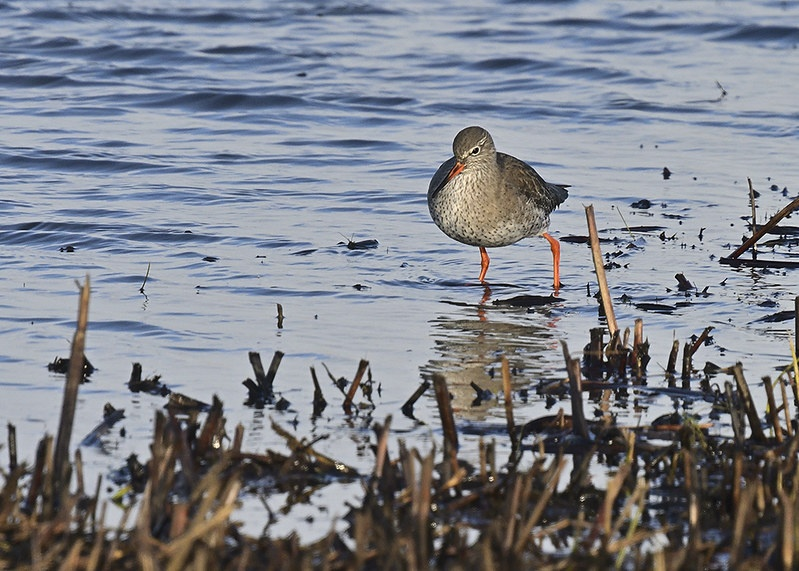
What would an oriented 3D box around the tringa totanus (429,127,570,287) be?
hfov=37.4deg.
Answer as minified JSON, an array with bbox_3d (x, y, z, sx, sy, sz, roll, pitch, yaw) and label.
[{"bbox_3d":[0.993,-0.809,12.167,1.382,1.634,0.867,2,-6,1],"label":"tringa totanus"}]
